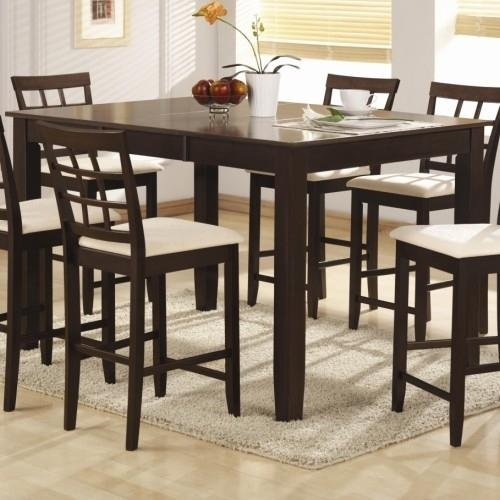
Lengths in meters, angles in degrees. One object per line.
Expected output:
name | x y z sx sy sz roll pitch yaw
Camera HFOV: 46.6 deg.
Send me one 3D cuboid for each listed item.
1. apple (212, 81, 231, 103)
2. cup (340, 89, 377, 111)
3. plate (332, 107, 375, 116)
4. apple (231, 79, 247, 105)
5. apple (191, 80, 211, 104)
apple | -0.113 -0.595 2.177 0.073 0.079 0.073 -5 11 4
cup | 0.408 -0.546 2.167 0.111 0.070 0.091 -2 6 2
plate | 0.386 -0.517 2.165 0.119 0.020 0.119 5 8 42
apple | -0.047 -0.601 2.195 0.077 0.096 0.082 -12 19 -42
apple | -0.184 -0.606 2.256 0.086 0.084 0.084 -8 6 -41
